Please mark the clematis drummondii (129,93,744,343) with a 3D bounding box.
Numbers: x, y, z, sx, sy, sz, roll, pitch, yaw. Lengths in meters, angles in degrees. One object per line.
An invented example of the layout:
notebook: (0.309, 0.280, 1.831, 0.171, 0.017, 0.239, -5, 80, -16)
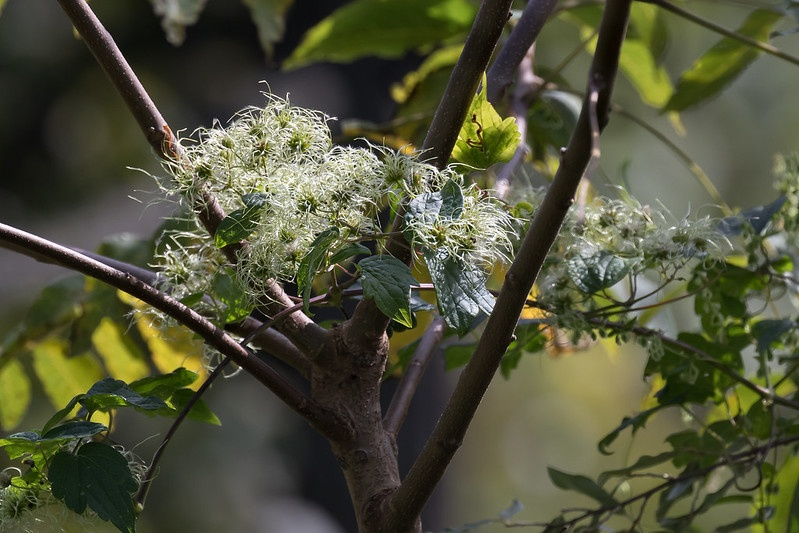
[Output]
clematis drummondii: (-0.068, -0.087, 1.342, 0.419, 0.291, 0.562, -1, -2, -43)
